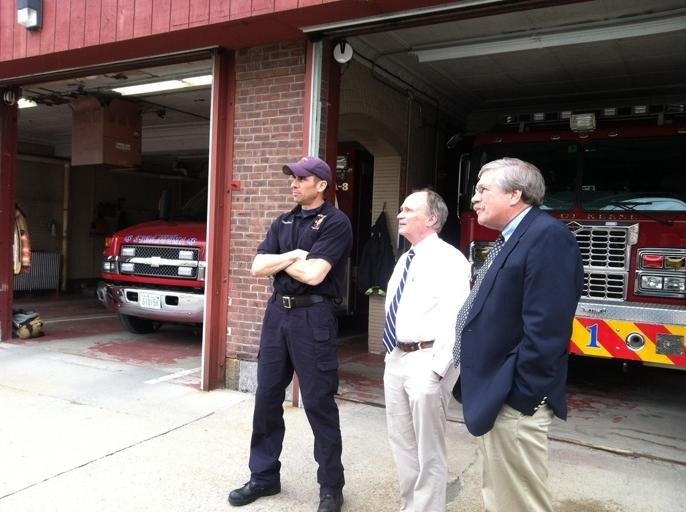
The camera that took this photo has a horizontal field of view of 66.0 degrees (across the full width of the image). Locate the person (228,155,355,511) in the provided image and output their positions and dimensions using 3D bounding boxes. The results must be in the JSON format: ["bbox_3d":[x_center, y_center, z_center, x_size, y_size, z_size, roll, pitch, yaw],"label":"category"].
[{"bbox_3d":[-0.380,0.560,4.099,0.869,2.657,0.714,2,5,0],"label":"person"}]

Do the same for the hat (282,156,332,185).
[{"bbox_3d":[-0.272,-0.679,4.145,0.335,0.134,0.211,10,7,-23],"label":"hat"}]

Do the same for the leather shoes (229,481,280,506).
[{"bbox_3d":[-0.681,1.821,4.102,0.386,0.149,0.137,6,-8,-40],"label":"leather shoes"}]

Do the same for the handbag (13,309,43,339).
[{"bbox_3d":[-5.038,1.130,8.504,0.391,0.216,0.489,16,11,-14],"label":"handbag"}]

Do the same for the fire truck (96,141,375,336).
[{"bbox_3d":[-1.566,0.502,10.085,2.528,2.488,5.141,1,-12,27],"label":"fire truck"}]
